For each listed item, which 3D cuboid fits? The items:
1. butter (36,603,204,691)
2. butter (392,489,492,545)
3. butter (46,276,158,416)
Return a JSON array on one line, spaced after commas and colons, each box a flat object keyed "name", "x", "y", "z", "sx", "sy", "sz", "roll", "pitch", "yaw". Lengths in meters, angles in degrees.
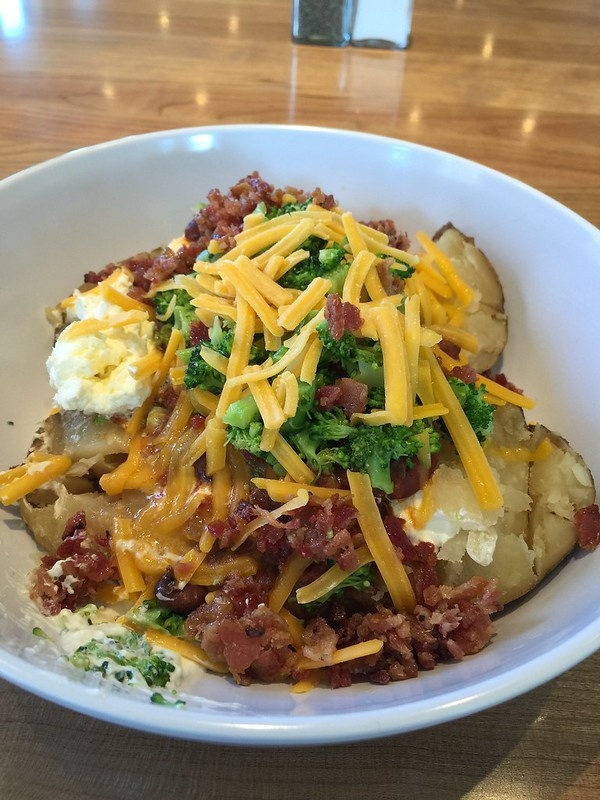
[{"name": "butter", "x": -0.415, "y": 0.577, "z": 1.656, "sx": 0.230, "sy": 0.039, "sz": 0.194, "roll": 26, "pitch": -8, "yaw": -17}, {"name": "butter", "x": 0.352, "y": 0.302, "z": 1.858, "sx": 0.258, "sy": 0.046, "sz": 0.178, "roll": -1, "pitch": 13, "yaw": -20}, {"name": "butter", "x": -0.576, "y": -0.119, "z": 2.140, "sx": 0.358, "sy": 0.175, "sz": 0.389, "roll": -15, "pitch": 63, "yaw": -15}]
